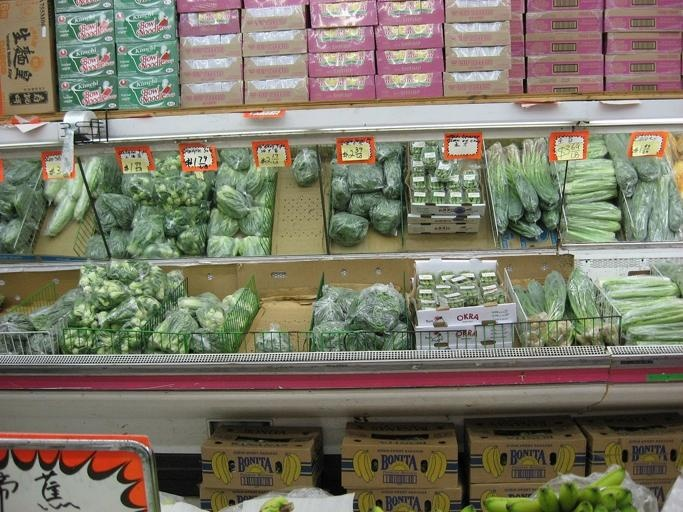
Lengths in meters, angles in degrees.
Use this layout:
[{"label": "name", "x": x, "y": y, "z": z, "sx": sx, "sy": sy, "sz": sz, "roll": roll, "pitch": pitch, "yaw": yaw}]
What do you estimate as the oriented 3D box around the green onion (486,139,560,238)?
[{"label": "green onion", "x": 1.281, "y": -0.492, "z": 4.487, "sx": 0.422, "sy": 0.205, "sz": 0.758, "roll": -5, "pitch": 60, "yaw": 4}]
